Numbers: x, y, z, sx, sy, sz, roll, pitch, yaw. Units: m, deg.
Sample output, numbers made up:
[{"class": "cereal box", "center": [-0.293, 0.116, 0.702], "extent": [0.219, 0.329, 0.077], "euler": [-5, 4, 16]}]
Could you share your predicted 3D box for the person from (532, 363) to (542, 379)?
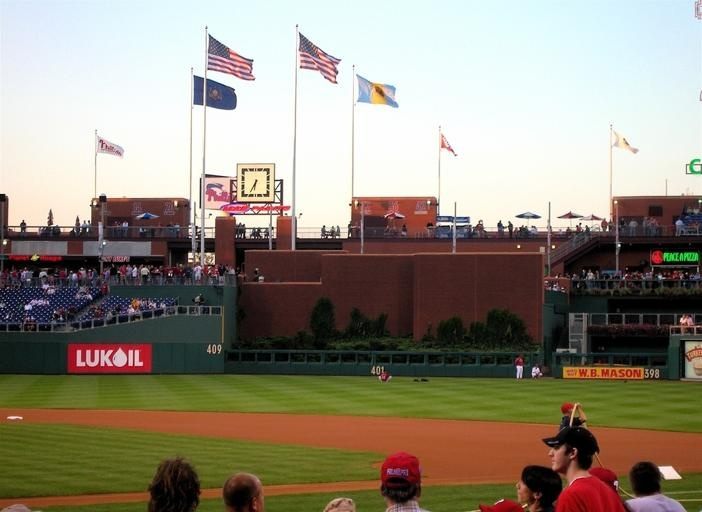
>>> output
[{"class": "person", "center": [10.507, 6.561, 77.167], "extent": [0.581, 0.863, 0.702], "euler": [1, -4, 3]}]

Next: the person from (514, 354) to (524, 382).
[{"class": "person", "center": [9.581, 6.260, 77.284], "extent": [0.479, 1.425, 1.278], "euler": [0, -3, 7]}]

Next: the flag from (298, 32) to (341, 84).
[{"class": "flag", "center": [-2.121, -12.119, 82.738], "extent": [2.331, 3.482, 3.779], "euler": [1, -3, -3]}]

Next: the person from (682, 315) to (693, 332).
[{"class": "person", "center": [19.475, 3.930, 78.566], "extent": [0.514, 0.858, 0.358], "euler": [1, 7, 24]}]
